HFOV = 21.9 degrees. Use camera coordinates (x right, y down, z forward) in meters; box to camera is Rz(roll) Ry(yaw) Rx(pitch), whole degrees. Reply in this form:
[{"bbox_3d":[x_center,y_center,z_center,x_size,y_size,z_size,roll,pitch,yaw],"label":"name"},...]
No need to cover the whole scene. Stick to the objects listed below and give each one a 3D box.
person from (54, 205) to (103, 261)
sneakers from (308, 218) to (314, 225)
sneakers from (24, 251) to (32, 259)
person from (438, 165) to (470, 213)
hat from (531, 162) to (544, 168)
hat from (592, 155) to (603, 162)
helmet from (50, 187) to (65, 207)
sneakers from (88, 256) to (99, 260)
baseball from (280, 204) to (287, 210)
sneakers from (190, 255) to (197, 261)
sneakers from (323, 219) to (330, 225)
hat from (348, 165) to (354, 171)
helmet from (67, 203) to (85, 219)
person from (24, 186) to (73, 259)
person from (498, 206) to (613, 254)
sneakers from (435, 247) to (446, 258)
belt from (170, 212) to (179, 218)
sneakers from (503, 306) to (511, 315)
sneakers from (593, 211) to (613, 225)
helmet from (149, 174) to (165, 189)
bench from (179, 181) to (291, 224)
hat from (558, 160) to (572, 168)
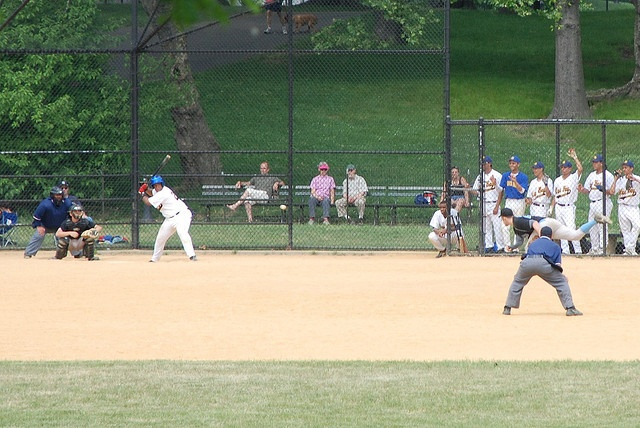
[{"bbox_3d":[-6.174,0.378,42.192,1.098,1.413,1.067,-1,-1,14],"label":"person"},{"bbox_3d":[-0.273,0.106,46.090,0.148,0.142,0.160,8,0,7],"label":"sneakers"},{"bbox_3d":[-7.445,0.949,42.150,0.246,0.129,0.302,-1,0,-12],"label":"sneakers"},{"bbox_3d":[3.535,-0.740,44.125,0.795,1.506,1.104,-9,-35,14],"label":"person"},{"bbox_3d":[5.725,-1.377,43.148,0.257,0.128,0.185,1,2,-18],"label":"hat"},{"bbox_3d":[7.204,-1.538,42.708,0.229,0.121,0.163,0,2,-29],"label":"hat"},{"bbox_3d":[-6.765,-0.584,42.573,0.336,0.442,0.444,-3,3,-36],"label":"helmet"},{"bbox_3d":[-5.776,1.024,42.021,0.169,0.071,0.109,-8,10,6],"label":"sneakers"},{"bbox_3d":[-1.021,-0.302,45.436,0.140,0.109,0.138,-8,24,-33],"label":"baseball"},{"bbox_3d":[-3.226,1.009,41.778,0.207,0.121,0.151,1,5,-10],"label":"sneakers"},{"bbox_3d":[0.152,0.114,45.634,0.155,0.163,0.168,2,-27,-1],"label":"sneakers"},{"bbox_3d":[0.832,-1.391,45.612,0.186,0.131,0.296,-4,-2,4],"label":"hat"},{"bbox_3d":[-6.250,-0.194,42.299,0.321,0.312,0.373,3,-8,-18],"label":"helmet"},{"bbox_3d":[-7.081,0.184,43.073,1.046,1.851,1.610,18,13,32],"label":"person"},{"bbox_3d":[5.687,0.113,39.009,2.854,1.168,1.115,-6,-5,2],"label":"person"},{"bbox_3d":[3.108,0.887,42.547,0.265,0.233,0.492,-1,0,10],"label":"sneakers"},{"bbox_3d":[-3.694,-0.081,41.743,0.257,0.079,0.107,-29,-5,-20],"label":"belt"},{"bbox_3d":[4.279,2.103,37.891,0.171,0.190,0.183,-7,-11,40],"label":"sneakers"},{"bbox_3d":[6.849,0.038,40.182,0.445,0.189,0.270,24,12,4],"label":"sneakers"},{"bbox_3d":[-4.182,-0.961,42.059,0.344,0.301,0.272,8,3,14],"label":"helmet"},{"bbox_3d":[-2.187,-0.452,46.405,2.431,1.225,1.156,-2,-2,1],"label":"bench"},{"bbox_3d":[6.395,-1.386,42.760,0.311,0.149,0.215,6,-2,-28],"label":"hat"}]
